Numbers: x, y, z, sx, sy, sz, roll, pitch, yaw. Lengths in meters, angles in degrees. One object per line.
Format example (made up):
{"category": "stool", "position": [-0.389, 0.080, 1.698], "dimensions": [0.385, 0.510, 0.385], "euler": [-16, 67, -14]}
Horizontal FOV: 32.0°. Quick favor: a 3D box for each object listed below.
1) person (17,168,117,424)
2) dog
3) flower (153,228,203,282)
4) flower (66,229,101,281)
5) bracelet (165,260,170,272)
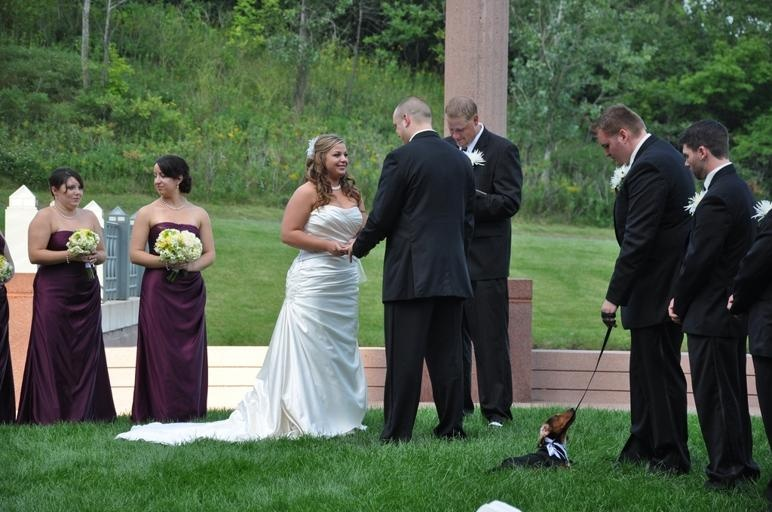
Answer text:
{"category": "person", "position": [-4.495, 0.586, 19.077], "dimensions": [1.228, 3.581, 0.608], "euler": [1, 5, -16]}
{"category": "dog", "position": [1.842, 2.553, 17.306], "dimensions": [1.459, 0.633, 0.415], "euler": [-20, 10, -31]}
{"category": "flower", "position": [-2.930, -0.041, 18.990], "dimensions": [0.580, 0.649, 0.607], "euler": [-9, 34, -29]}
{"category": "flower", "position": [-4.208, -0.030, 19.125], "dimensions": [0.452, 0.606, 0.546], "euler": [0, 6, 40]}
{"category": "bracelet", "position": [-3.060, 0.146, 18.951], "dimensions": [0.051, 0.140, 0.100], "euler": [-12, 8, -21]}
